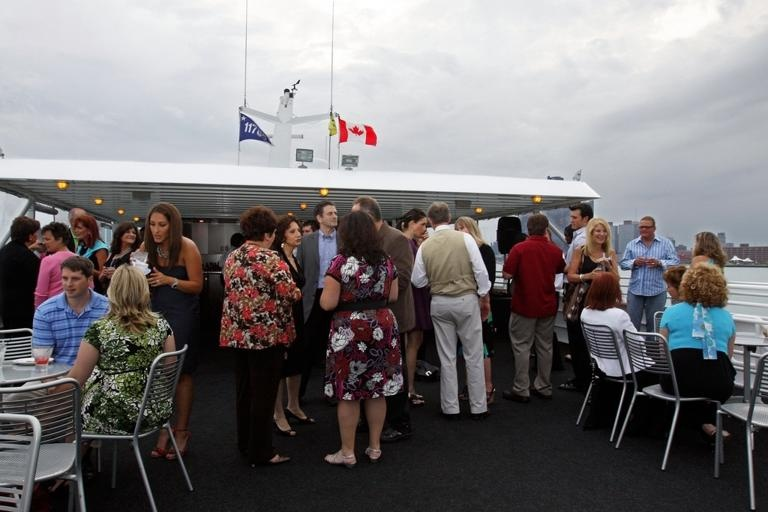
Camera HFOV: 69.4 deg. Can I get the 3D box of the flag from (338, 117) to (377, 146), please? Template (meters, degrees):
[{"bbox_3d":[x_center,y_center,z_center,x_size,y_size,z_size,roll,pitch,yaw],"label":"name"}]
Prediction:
[{"bbox_3d":[-0.538,-2.486,11.026,0.744,0.554,0.421,-2,14,-6],"label":"flag"}]

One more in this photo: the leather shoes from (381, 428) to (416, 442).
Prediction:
[{"bbox_3d":[0.134,2.035,6.305,0.302,0.132,0.127,8,-9,-18],"label":"leather shoes"}]

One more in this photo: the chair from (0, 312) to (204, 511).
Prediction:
[{"bbox_3d":[-2.469,1.325,5.287,1.671,1.839,1.345,1,-5,11],"label":"chair"}]

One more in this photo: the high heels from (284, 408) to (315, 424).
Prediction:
[{"bbox_3d":[-1.006,1.968,6.796,0.390,0.179,0.143,-1,-7,2],"label":"high heels"}]

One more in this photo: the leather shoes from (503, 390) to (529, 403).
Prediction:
[{"bbox_3d":[1.746,1.866,7.379,0.126,0.140,0.328,1,4,-34],"label":"leather shoes"}]

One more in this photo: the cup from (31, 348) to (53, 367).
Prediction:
[{"bbox_3d":[-3.218,0.956,5.222,0.155,0.151,0.154,-1,-7,0],"label":"cup"}]

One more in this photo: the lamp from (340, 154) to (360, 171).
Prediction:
[{"bbox_3d":[-0.613,-1.716,10.017,0.318,0.209,0.255,-1,14,-5],"label":"lamp"}]

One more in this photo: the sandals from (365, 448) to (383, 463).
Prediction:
[{"bbox_3d":[-0.125,2.101,5.891,0.165,0.153,0.114,1,14,6],"label":"sandals"}]

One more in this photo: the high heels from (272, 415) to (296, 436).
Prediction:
[{"bbox_3d":[-1.210,2.010,6.526,0.142,0.192,0.409,10,-12,-38],"label":"high heels"}]

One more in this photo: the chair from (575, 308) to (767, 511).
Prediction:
[{"bbox_3d":[3.040,1.693,5.914,0.617,1.146,1.611,-6,7,-25],"label":"chair"}]

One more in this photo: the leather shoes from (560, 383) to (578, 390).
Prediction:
[{"bbox_3d":[2.600,1.844,7.828,0.228,0.104,0.088,3,-6,-3],"label":"leather shoes"}]

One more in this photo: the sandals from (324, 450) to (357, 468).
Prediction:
[{"bbox_3d":[-0.454,2.104,5.839,0.271,0.133,0.158,3,-5,30],"label":"sandals"}]

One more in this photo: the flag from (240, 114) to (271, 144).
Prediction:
[{"bbox_3d":[-2.549,-2.490,10.843,0.591,0.568,0.367,-4,15,-15],"label":"flag"}]
